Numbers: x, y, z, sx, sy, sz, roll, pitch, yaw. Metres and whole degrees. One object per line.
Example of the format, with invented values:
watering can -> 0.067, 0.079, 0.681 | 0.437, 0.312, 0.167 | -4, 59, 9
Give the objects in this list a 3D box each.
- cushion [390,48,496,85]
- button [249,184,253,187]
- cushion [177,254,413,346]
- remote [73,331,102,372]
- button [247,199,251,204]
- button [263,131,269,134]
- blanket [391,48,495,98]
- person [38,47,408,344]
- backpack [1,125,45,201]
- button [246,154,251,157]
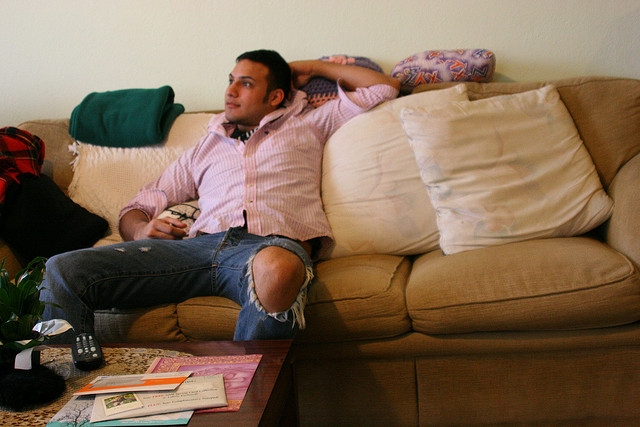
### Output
cushion -> 0.605, -0.709, 2.661 | 0.418, 0.185, 0.484 | -7, 15, -27
button -> -0.311, -0.119, 2.321 | 0.015, 0.013, 0.003 | 3, -14, -9
cushion -> -0.062, 0.351, 2.127 | 0.930, 0.260, 0.395 | -6, 22, -4
remote -> -0.786, 0.461, 1.751 | 0.087, 0.054, 0.179 | -4, 23, -27
button -> -0.318, -0.047, 2.289 | 0.016, 0.015, 0.004 | -2, -12, -11
button -> -0.254, -0.369, 2.433 | 0.024, 0.011, 0.012 | -8, 23, -8
blanket -> 0.619, -0.726, 2.657 | 0.509, 0.170, 0.248 | -7, 26, 2
person -> -0.430, 0.048, 2.381 | 1.467, 1.710, 0.907 | 0, -7, 9
backpack -> -1.443, -0.233, 2.548 | 0.294, 0.284, 0.106 | 5, -15, -17
button -> -0.330, -0.256, 2.379 | 0.022, 0.009, 0.013 | 3, 24, 19
